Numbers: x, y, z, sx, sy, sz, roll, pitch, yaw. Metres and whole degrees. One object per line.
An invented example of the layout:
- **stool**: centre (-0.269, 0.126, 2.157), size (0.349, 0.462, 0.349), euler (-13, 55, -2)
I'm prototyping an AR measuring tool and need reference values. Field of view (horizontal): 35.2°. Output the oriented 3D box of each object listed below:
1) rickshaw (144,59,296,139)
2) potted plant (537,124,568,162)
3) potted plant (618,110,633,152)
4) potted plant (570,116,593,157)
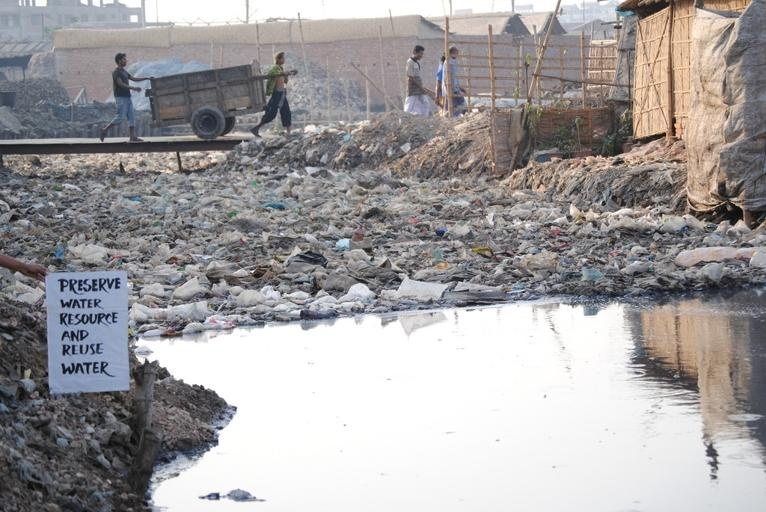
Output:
- **rickshaw**: centre (-3.331, -3.109, 24.227), size (2.964, 1.246, 1.658), euler (-10, 14, -13)
- **potted plant**: centre (2.941, -1.955, 21.096), size (0.682, 0.465, 0.689), euler (-1, 6, -2)
- **potted plant**: centre (4.233, -2.242, 21.242), size (0.258, 0.603, 0.548), euler (-4, 5, 11)
- **potted plant**: centre (3.425, -2.127, 21.021), size (0.403, 0.598, 0.150), euler (-5, 6, -7)
